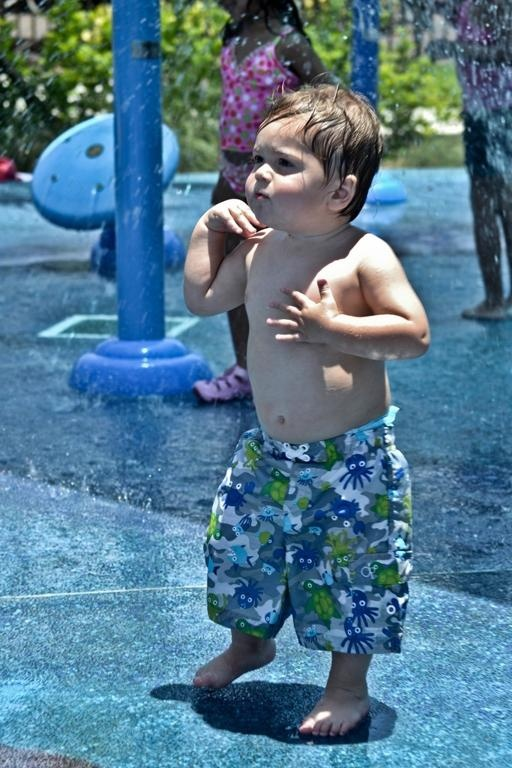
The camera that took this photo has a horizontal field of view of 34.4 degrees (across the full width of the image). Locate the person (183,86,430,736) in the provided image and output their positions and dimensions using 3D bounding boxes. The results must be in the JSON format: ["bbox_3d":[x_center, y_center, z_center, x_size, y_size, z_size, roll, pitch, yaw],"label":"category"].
[{"bbox_3d":[0.036,0.020,1.257,0.267,0.922,0.437,-9,16,-40],"label":"person"}]

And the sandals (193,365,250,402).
[{"bbox_3d":[-0.099,0.004,2.749,0.081,0.096,0.238,-3,-6,28],"label":"sandals"}]
